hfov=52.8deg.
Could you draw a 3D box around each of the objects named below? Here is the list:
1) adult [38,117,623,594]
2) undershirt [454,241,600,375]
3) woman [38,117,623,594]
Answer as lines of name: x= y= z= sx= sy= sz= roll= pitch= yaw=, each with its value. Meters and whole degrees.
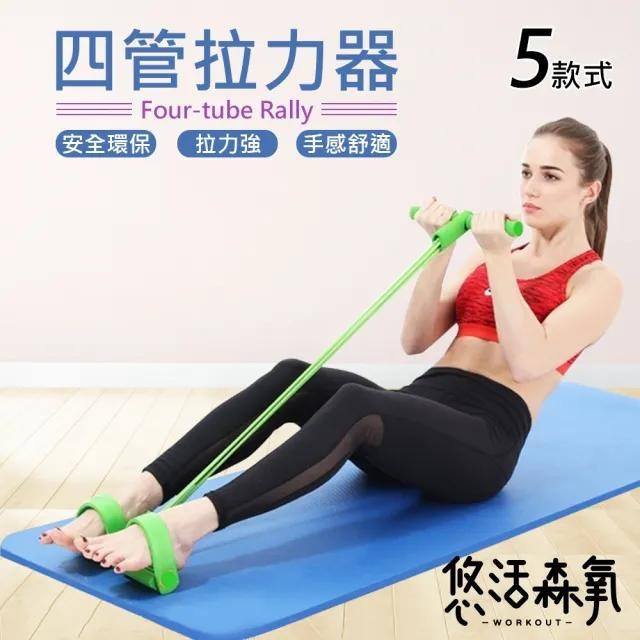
adult: x=0.058 y=0.047 z=1.401 sx=1.461 sy=0.797 sz=0.525 roll=-10 pitch=16 yaw=-24
undershirt: x=0.474 y=-0.030 z=1.481 sx=0.288 sy=0.185 sz=0.335 roll=-45 pitch=25 yaw=-11
woman: x=0.065 y=0.050 z=1.377 sx=1.350 sy=0.762 sz=0.496 roll=-11 pitch=16 yaw=-23
